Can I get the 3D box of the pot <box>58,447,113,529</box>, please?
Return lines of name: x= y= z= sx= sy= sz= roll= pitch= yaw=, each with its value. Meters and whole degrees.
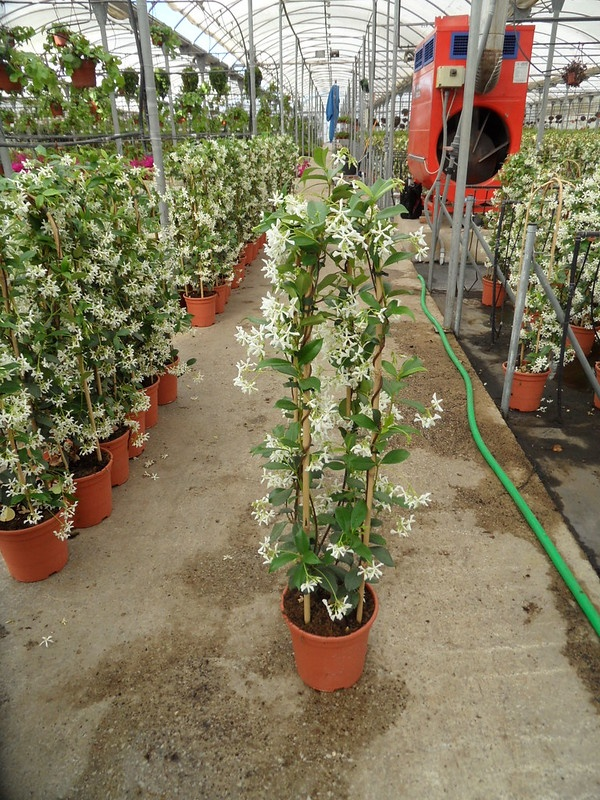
pot: x=-1.088 y=0.477 z=2.950 sx=0.334 sy=0.282 sz=0.345 roll=0 pitch=25 yaw=0

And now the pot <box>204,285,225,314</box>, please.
pot: x=-0.968 y=-1.163 z=6.254 sx=0.274 sy=0.258 sz=0.263 roll=-1 pitch=17 yaw=0

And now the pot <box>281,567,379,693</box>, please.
pot: x=0.099 y=0.886 z=2.005 sx=0.371 sy=0.268 sz=0.360 roll=-2 pitch=12 yaw=0

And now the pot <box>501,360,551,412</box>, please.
pot: x=1.669 y=-0.114 z=3.999 sx=0.301 sy=0.263 sz=0.314 roll=0 pitch=29 yaw=0
